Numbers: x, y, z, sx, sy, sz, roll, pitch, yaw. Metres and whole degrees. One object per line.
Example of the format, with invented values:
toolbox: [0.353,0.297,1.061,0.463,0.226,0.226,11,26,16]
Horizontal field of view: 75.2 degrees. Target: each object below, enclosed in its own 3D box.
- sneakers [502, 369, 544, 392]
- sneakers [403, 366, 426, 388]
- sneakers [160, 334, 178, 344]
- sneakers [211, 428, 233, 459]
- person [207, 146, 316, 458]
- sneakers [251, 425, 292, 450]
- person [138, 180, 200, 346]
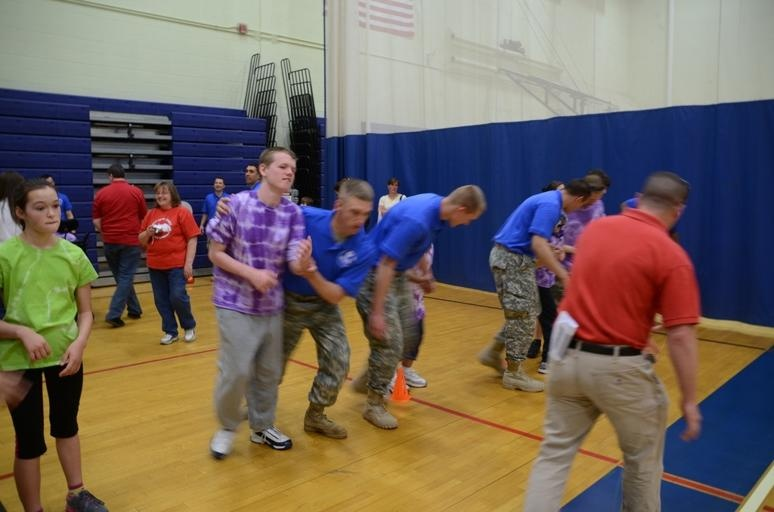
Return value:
sneakers: [1.250,1.183,4.814,0.418,0.199,0.165,3,7,2]
sneakers: [0.241,1.184,4.926,0.280,0.122,0.118,10,5,37]
sneakers: [-2.573,0.985,5.962,0.091,0.080,0.241,0,-2,6]
sneakers: [-1.178,1.333,3.631,0.134,0.222,0.076,19,4,-5]
person: [-0.903,0.391,3.417,0.705,2.200,0.408,-1,13,-8]
sneakers: [-0.875,1.372,3.814,0.289,0.109,0.143,3,5,22]
person: [-2.464,0.114,5.775,0.683,1.891,0.546,0,13,-2]
